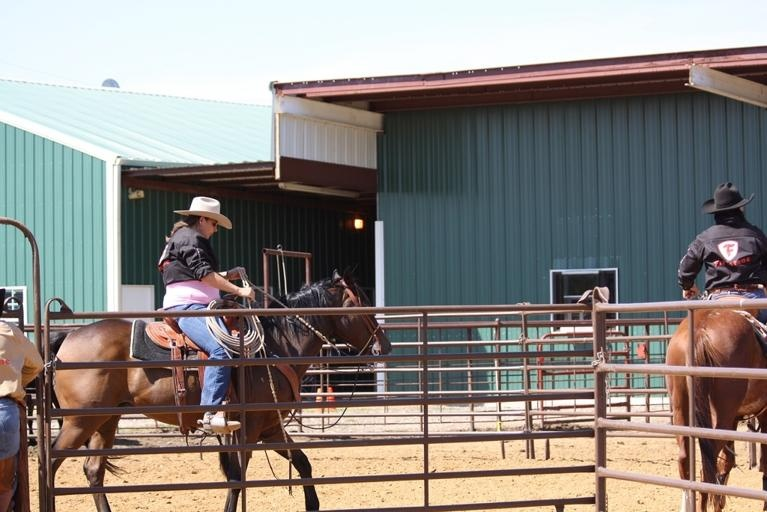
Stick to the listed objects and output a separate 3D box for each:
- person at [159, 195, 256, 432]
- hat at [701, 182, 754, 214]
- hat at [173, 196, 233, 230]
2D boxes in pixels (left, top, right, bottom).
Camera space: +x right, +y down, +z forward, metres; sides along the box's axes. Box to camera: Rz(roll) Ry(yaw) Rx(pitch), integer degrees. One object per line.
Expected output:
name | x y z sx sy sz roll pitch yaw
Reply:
person | -2.469 0.777 17.662 1.099 3.181 1.329 0 -2 -11
hat | 4.663 -0.753 17.823 0.565 0.220 0.485 -24 17 -27
hat | -2.356 -0.571 18.167 0.716 0.282 0.601 16 -11 -30
